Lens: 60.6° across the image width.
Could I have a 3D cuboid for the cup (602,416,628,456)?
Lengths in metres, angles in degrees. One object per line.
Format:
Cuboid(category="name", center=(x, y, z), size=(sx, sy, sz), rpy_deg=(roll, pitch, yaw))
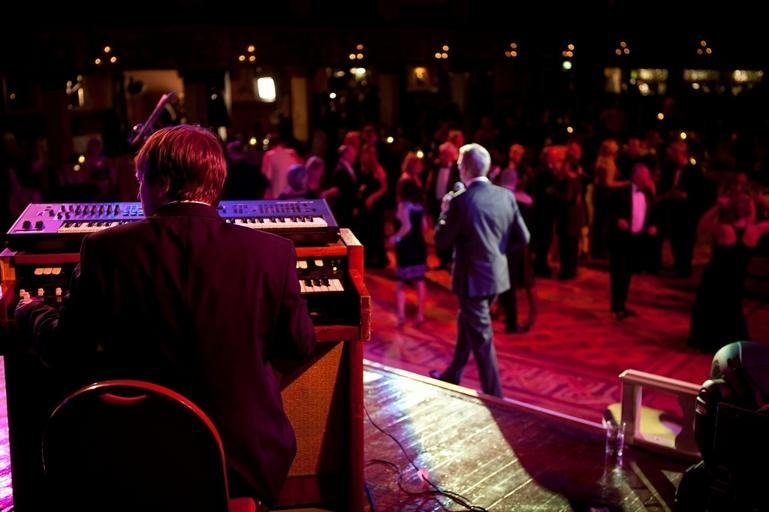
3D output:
Cuboid(category="cup", center=(1.546, 1.204, 4.413), size=(0.117, 0.227, 0.174), rpy_deg=(1, 9, 16))
